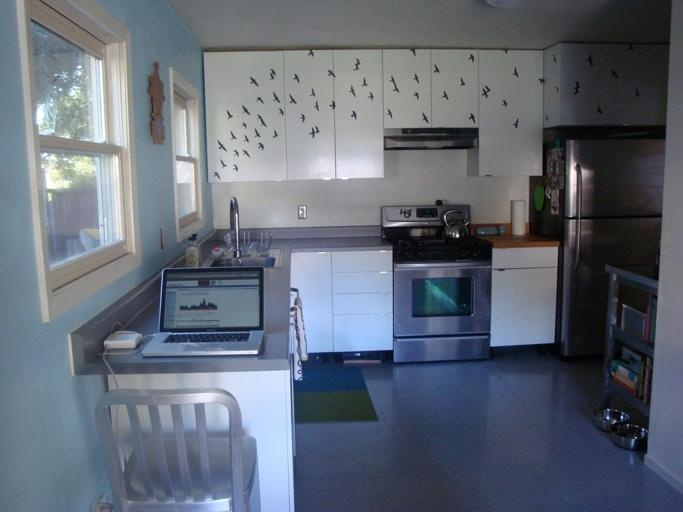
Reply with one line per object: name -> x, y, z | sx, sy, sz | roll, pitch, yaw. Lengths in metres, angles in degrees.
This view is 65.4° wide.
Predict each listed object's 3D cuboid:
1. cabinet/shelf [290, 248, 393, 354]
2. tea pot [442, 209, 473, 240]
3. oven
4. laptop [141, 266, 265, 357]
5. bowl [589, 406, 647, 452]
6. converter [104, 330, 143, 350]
cabinet/shelf -> 0.004, 0.340, 4.720 | 0.941, 0.945, 0.541 | -1, 14, 4
tea pot -> 1.067, -0.280, 4.726 | 0.304, 0.308, 0.206 | -3, 1, 16
oven -> 0.875, 0.390, 4.748 | 0.888, 0.911, 0.757 | 1, 17, 12
laptop -> -0.617, 0.242, 2.439 | 0.539, 0.341, 0.443 | 0, 6, -14
bowl -> 1.803, 1.106, 3.424 | 0.290, 0.092, 0.372 | 2, 14, 10
converter -> -1.008, 0.387, 2.456 | 0.102, 0.043, 0.085 | 0, 8, -8
